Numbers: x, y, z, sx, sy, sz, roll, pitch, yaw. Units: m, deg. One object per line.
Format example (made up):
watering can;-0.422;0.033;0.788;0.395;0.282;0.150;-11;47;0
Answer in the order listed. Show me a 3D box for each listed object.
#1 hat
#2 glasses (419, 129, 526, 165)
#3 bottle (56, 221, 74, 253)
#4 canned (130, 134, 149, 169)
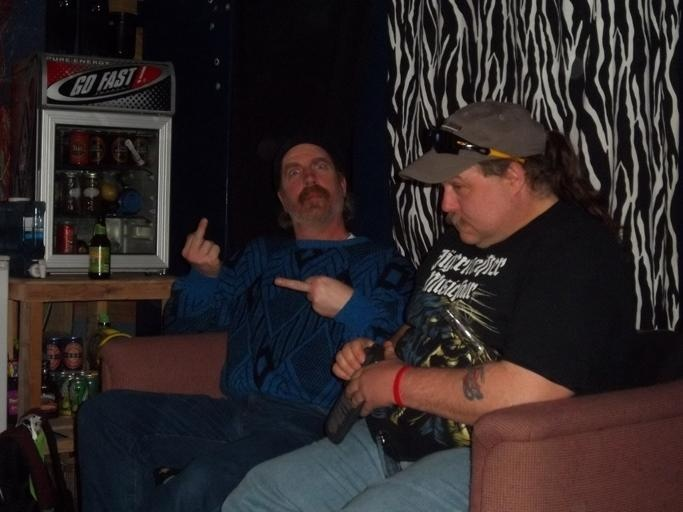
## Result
hat;0.335;-0.292;1.743;0.373;0.179;0.233;-11;9;-10
glasses;0.320;-0.270;1.668;0.150;0.037;0.114;18;5;-9
bottle;-1.316;-0.082;3.141;0.086;0.144;0.088;1;2;0
canned;-1.022;-0.518;3.329;0.108;0.156;0.043;-2;-1;-43
